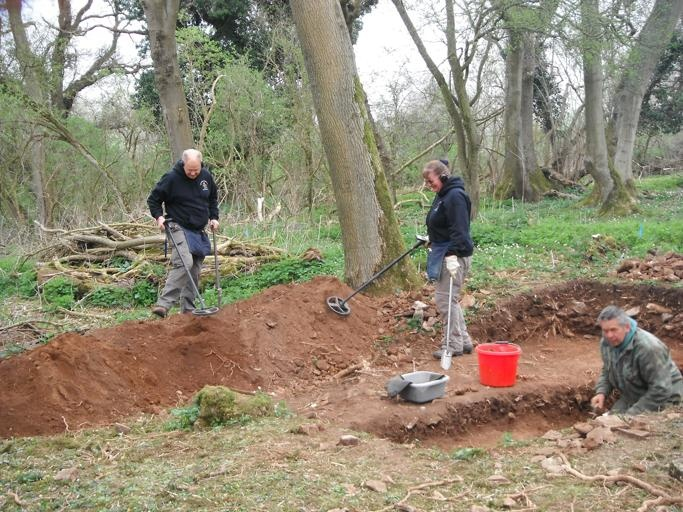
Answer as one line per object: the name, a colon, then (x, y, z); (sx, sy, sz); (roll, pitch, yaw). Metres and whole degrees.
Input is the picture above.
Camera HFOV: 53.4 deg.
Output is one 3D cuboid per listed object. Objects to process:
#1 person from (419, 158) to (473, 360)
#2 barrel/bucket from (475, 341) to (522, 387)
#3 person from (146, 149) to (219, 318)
person: (1.538, 0.057, 9.723); (0.655, 2.875, 0.601); (-3, 5, 9)
barrel/bucket: (2.077, 1.426, 9.086); (0.556, 0.453, 0.575); (1, 2, 0)
person: (-2.371, -0.355, 10.298); (1.215, 2.464, 0.683); (-7, 6, -30)
